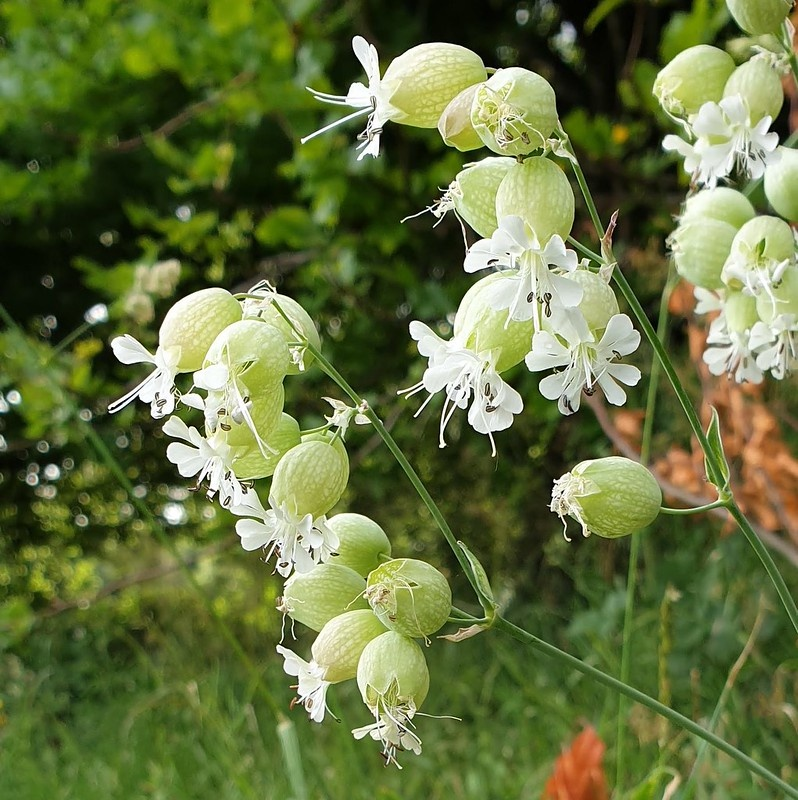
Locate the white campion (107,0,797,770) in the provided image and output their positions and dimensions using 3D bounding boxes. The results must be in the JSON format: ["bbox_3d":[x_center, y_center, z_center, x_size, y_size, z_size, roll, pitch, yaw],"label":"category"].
[{"bbox_3d":[0.145,-0.135,1.252,0.958,0.878,0.479,8,26,-19],"label":"white campion"}]
